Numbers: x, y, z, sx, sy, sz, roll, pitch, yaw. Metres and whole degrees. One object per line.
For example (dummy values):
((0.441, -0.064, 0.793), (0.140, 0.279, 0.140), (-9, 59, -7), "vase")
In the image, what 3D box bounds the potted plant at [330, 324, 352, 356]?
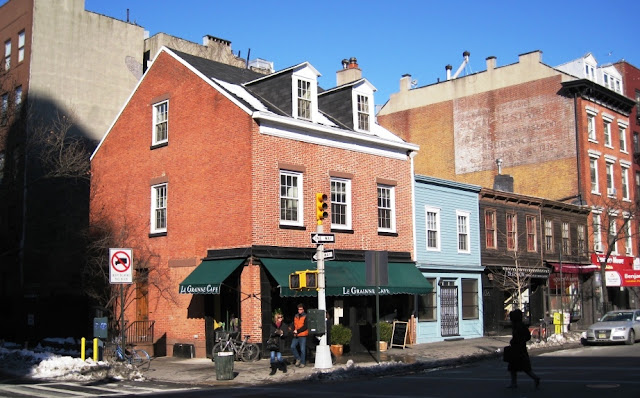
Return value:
((1.078, 8.072, 43.980), (1.593, 1.706, 1.547), (1, -10, -5), "potted plant")

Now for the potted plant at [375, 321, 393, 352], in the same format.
((3.880, 8.134, 45.846), (0.598, 1.278, 1.461), (2, -2, 23), "potted plant")

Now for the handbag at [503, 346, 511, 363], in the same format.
((8.625, 7.118, 35.362), (0.350, 0.527, 0.506), (2, -1, 14), "handbag")

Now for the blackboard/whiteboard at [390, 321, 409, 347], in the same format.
((4.937, 8.170, 46.367), (0.979, 1.588, 1.050), (0, -1, 34), "blackboard/whiteboard")

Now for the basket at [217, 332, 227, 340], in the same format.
((-5.467, 7.586, 42.811), (0.573, 0.358, 0.558), (5, -13, -33), "basket")

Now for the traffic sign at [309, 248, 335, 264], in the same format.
((0.051, 3.028, 41.061), (1.164, 0.635, 0.056), (-2, -24, 5), "traffic sign")

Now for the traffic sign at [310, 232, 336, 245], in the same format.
((0.082, 2.073, 39.739), (1.181, 0.487, 1.093), (2, -2, -15), "traffic sign")

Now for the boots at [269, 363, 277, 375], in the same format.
((-2.396, 8.544, 38.810), (0.319, 0.452, 0.604), (2, -2, -3), "boots")
